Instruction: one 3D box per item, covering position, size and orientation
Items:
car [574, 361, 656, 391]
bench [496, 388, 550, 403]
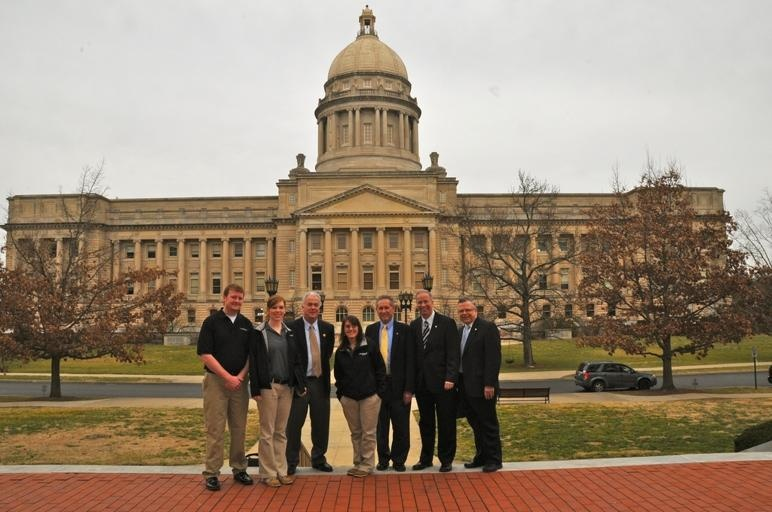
[{"bbox_3d":[12.504,6.422,57.493,4.096,1.224,1.693,-1,-1,-7],"label":"car"},{"bbox_3d":[6.779,6.777,51.645,2.391,0.693,2.096,-1,-8,3],"label":"bench"}]
